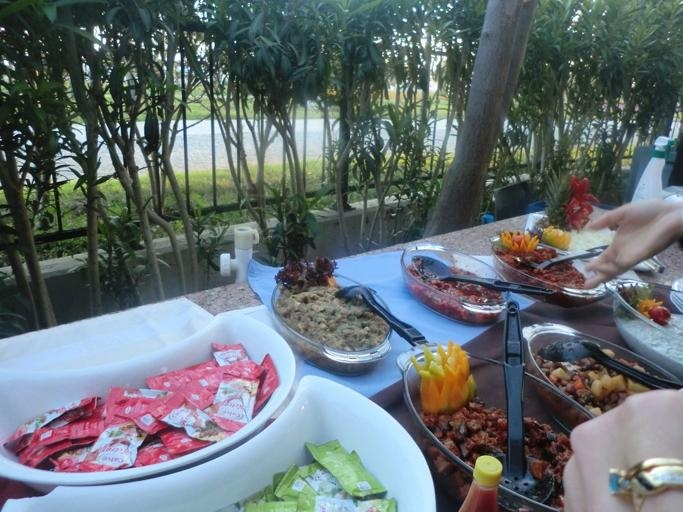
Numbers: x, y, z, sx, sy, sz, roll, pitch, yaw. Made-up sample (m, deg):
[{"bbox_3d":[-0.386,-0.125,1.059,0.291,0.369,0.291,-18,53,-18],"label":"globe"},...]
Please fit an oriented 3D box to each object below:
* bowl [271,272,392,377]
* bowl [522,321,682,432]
[{"bbox_3d":[-0.019,0.151,1.217,0.265,0.186,0.222,-11,19,-33],"label":"bowl"},{"bbox_3d":[0.559,0.243,1.153,0.311,0.194,0.271,1,13,-5],"label":"bowl"}]
